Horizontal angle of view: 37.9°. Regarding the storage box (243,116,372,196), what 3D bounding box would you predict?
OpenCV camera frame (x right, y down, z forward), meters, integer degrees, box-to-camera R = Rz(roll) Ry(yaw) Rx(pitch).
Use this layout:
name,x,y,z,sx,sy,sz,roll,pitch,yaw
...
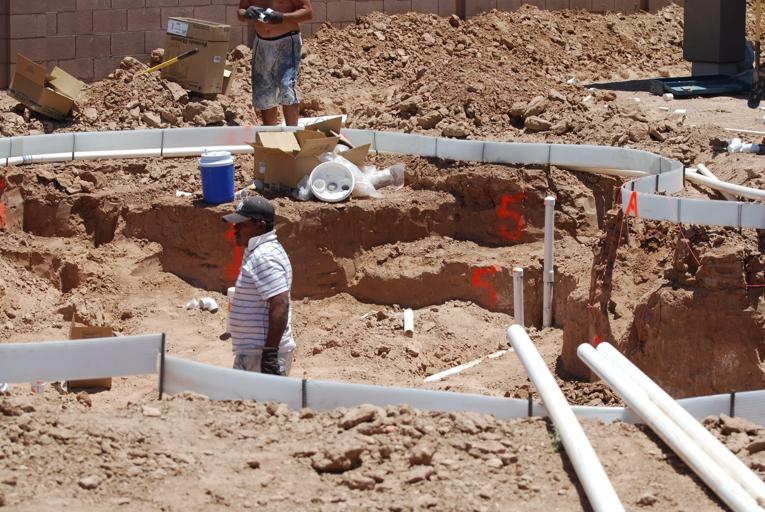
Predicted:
name,x,y,z,sx,sy,sz,roll,pitch,yaw
storage box,-0.992,-1.145,12.965,0.945,0.591,1.299,21,26,39

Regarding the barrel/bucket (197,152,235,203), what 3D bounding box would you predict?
name,x,y,z,sx,sy,sz,roll,pitch,yaw
barrel/bucket,-1.879,-0.868,12.609,0.380,0.594,0.330,-1,11,-6

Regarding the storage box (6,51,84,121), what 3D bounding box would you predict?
name,x,y,z,sx,sy,sz,roll,pitch,yaw
storage box,-4.259,-2.089,14.182,0.850,0.785,0.810,27,-3,-4

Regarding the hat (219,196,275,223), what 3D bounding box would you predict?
name,x,y,z,sx,sy,sz,roll,pitch,yaw
hat,-1.122,-0.392,9.589,0.360,0.173,0.227,3,5,-7

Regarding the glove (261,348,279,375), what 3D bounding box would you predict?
name,x,y,z,sx,sy,sz,roll,pitch,yaw
glove,-0.965,0.899,9.451,0.209,0.254,0.152,0,-8,-14

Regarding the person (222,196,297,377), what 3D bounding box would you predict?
name,x,y,z,sx,sy,sz,roll,pitch,yaw
person,-1.092,0.288,9.510,0.569,1.540,0.506,3,11,9

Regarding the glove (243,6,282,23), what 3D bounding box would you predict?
name,x,y,z,sx,sy,sz,roll,pitch,yaw
glove,-1.365,-2.767,12.848,0.273,0.104,0.264,15,20,26

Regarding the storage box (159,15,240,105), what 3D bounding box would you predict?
name,x,y,z,sx,sy,sz,roll,pitch,yaw
storage box,-2.427,-2.499,14.458,1.159,1.011,0.433,22,24,24
